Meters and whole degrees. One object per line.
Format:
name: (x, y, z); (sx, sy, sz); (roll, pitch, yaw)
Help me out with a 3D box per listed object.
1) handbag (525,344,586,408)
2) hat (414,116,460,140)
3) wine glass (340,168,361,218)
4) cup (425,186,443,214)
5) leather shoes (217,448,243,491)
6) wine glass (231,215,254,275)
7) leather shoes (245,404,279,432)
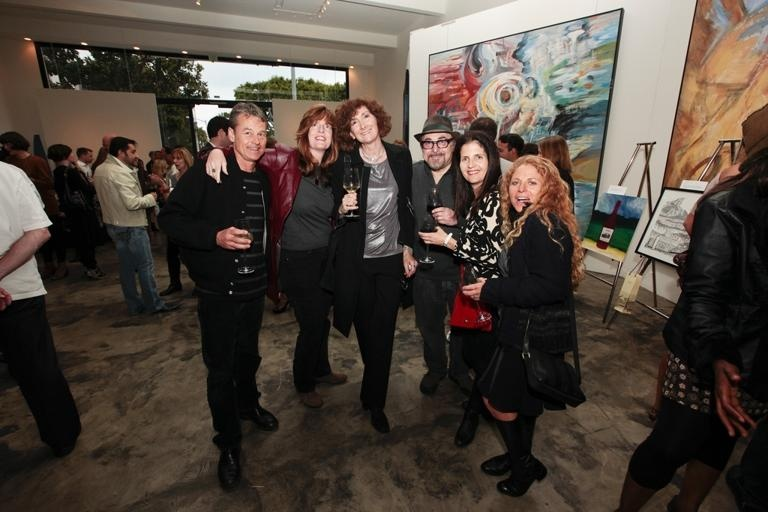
handbag: (1.149, 0.833, 2.828); (0.392, 0.374, 0.193); (-3, 18, -9)
hat: (0.454, -1.117, 3.618); (0.291, 0.203, 0.265); (2, 18, 7)
wine glass: (-0.259, -0.502, 3.368); (0.144, 0.408, 0.230); (-2, 18, -6)
cup: (0.421, -0.470, 3.512); (0.111, 0.191, 0.296); (1, 18, 5)
leather shoes: (-1.188, 1.655, 3.190); (0.128, 0.229, 0.365); (2, -6, -18)
wine glass: (-1.058, -0.075, 3.167); (0.146, 0.463, 0.237); (0, 17, 2)
leather shoes: (-1.049, 1.407, 3.658); (0.363, 0.150, 0.148); (14, 19, 21)
